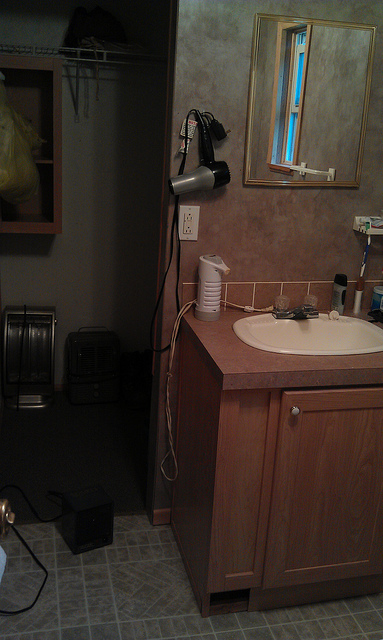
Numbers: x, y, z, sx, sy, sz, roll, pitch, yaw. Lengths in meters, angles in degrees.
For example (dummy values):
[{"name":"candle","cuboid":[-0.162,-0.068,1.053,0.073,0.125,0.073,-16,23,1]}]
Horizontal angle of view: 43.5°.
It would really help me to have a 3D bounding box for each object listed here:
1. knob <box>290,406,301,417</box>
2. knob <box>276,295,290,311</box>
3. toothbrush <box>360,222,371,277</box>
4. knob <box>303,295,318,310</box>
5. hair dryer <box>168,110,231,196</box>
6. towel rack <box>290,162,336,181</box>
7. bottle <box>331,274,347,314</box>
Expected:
[{"name":"knob","cuboid":[0.271,0.237,1.253,0.019,0.026,0.023,-9,14,-22]},{"name":"knob","cuboid":[0.314,-0.059,1.671,0.043,0.055,0.049,3,13,-1]},{"name":"toothbrush","cuboid":[0.640,-0.270,1.774,0.024,0.185,0.028,13,20,13]},{"name":"knob","cuboid":[0.425,-0.062,1.701,0.039,0.048,0.043,1,5,6]},{"name":"hair dryer","cuboid":[0.023,-0.521,1.489,0.193,0.253,0.095,-1,11,-3]},{"name":"towel rack","cuboid":[0.415,-0.510,1.653,0.172,0.058,0.024,-5,13,-21]},{"name":"bottle","cuboid":[0.539,-0.095,1.765,0.047,0.144,0.067,3,12,15]}]
